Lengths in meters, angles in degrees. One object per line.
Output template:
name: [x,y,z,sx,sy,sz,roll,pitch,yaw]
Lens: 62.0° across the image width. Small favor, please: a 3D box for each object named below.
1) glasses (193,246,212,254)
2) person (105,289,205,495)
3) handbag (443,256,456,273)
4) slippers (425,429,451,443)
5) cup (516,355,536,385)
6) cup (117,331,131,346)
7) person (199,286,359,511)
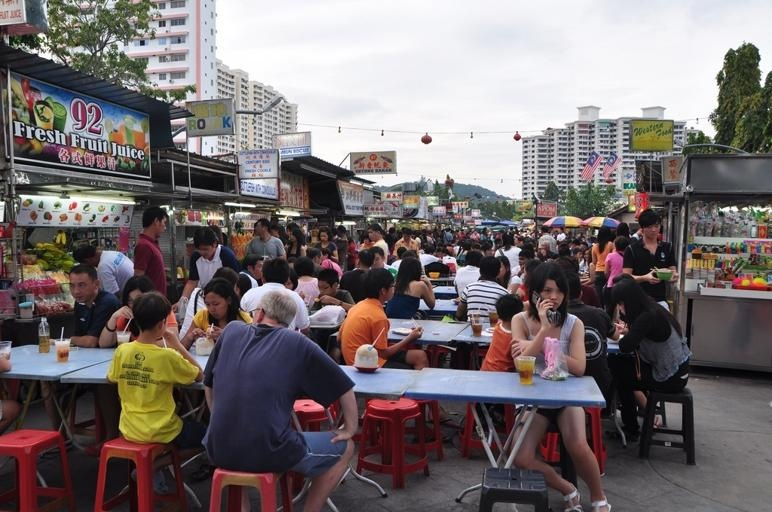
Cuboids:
glasses: [-2.571,-0.081,9.132,0.130,0.160,0.093,-5,3,12]
person: [-2.251,1.136,6.324,0.888,1.516,0.351,-1,3,-25]
handbag: [1.385,0.202,14.143,0.319,0.429,0.229,-1,-13,-11]
slippers: [0.642,2.210,7.875,0.204,0.104,0.298,-3,-11,39]
cup: [1.376,1.148,6.423,0.247,0.264,0.240,0,-7,0]
cup: [-2.778,0.870,6.765,0.160,0.170,0.175,0,-7,0]
person: [-0.982,1.339,5.969,1.360,2.011,0.475,0,3,-17]
